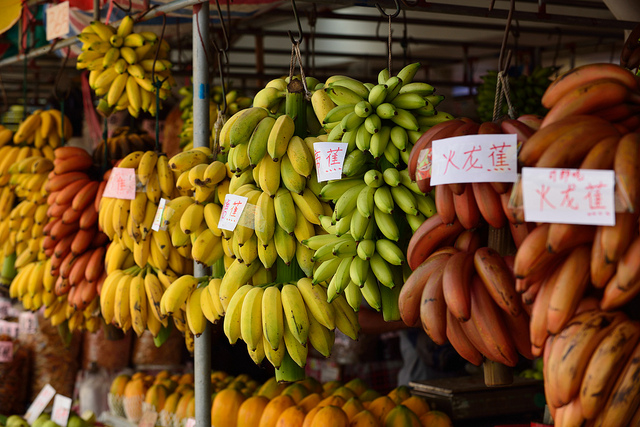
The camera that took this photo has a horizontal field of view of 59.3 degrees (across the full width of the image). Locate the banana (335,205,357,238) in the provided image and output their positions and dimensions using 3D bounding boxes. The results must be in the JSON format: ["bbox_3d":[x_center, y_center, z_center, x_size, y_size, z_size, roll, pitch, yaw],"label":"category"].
[{"bbox_3d":[0.090,0.038,2.046,0.037,0.145,0.050,24,-6,23],"label":"banana"}]

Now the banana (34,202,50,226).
[{"bbox_3d":[-1.485,-0.002,2.987,0.032,0.135,0.044,-1,-42,12],"label":"banana"}]

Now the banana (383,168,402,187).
[{"bbox_3d":[0.251,-0.133,1.974,0.040,0.050,0.066,9,20,-29],"label":"banana"}]

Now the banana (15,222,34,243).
[{"bbox_3d":[-1.630,0.098,3.087,0.022,0.108,0.037,31,8,-4],"label":"banana"}]

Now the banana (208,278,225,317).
[{"bbox_3d":[-0.457,0.331,2.434,0.051,0.117,0.210,-8,40,-5],"label":"banana"}]

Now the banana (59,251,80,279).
[{"bbox_3d":[-1.269,0.262,2.838,0.032,0.135,0.042,27,-8,44],"label":"banana"}]

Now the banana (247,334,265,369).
[{"bbox_3d":[-0.261,0.554,2.247,0.041,0.167,0.055,-1,5,4],"label":"banana"}]

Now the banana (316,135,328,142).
[{"bbox_3d":[0.009,-0.296,2.175,0.040,0.037,0.090,0,0,-1],"label":"banana"}]

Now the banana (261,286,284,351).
[{"bbox_3d":[-0.184,0.404,2.157,0.065,0.256,0.070,-10,-16,40],"label":"banana"}]

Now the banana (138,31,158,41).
[{"bbox_3d":[-0.846,-0.872,2.729,0.114,0.040,0.038,5,4,27],"label":"banana"}]

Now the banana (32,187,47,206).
[{"bbox_3d":[-1.523,-0.087,3.016,0.035,0.154,0.047,-1,1,1],"label":"banana"}]

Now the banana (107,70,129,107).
[{"bbox_3d":[-0.988,-0.610,2.748,0.061,0.228,0.061,17,-7,-26],"label":"banana"}]

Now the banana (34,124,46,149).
[{"bbox_3d":[-1.674,-0.454,3.342,0.037,0.166,0.049,1,-3,2],"label":"banana"}]

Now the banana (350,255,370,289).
[{"bbox_3d":[0.143,0.210,2.014,0.070,0.120,0.060,0,-1,-2],"label":"banana"}]

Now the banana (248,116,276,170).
[{"bbox_3d":[-0.214,-0.294,2.223,0.059,0.227,0.070,9,-29,18],"label":"banana"}]

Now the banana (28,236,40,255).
[{"bbox_3d":[-1.574,0.177,3.074,0.045,0.151,0.038,-5,29,-33],"label":"banana"}]

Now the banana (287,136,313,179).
[{"bbox_3d":[-0.078,-0.225,2.174,0.098,0.160,0.065,0,-1,37],"label":"banana"}]

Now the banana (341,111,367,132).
[{"bbox_3d":[0.115,-0.333,2.000,0.046,0.043,0.135,9,24,43],"label":"banana"}]

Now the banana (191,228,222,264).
[{"bbox_3d":[-0.484,0.137,2.368,0.035,0.146,0.087,-9,-48,45],"label":"banana"}]

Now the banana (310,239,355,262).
[{"bbox_3d":[0.052,0.149,2.091,0.184,0.069,0.054,-30,-14,31],"label":"banana"}]

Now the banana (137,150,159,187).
[{"bbox_3d":[-0.799,-0.218,2.584,0.052,0.199,0.056,-1,-32,21],"label":"banana"}]

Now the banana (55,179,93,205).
[{"bbox_3d":[-1.294,-0.116,2.869,0.243,0.084,0.082,-6,31,39],"label":"banana"}]

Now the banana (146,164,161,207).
[{"bbox_3d":[-0.771,-0.162,2.632,0.069,0.232,0.064,-26,-46,14],"label":"banana"}]

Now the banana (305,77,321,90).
[{"bbox_3d":[-0.020,-0.538,2.329,0.044,0.034,0.057,-25,6,-2],"label":"banana"}]

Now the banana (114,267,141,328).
[{"bbox_3d":[-0.918,0.381,2.637,0.117,0.374,0.099,15,25,12],"label":"banana"}]

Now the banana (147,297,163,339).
[{"bbox_3d":[-0.790,0.497,2.673,0.044,0.197,0.066,-4,18,8],"label":"banana"}]

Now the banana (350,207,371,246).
[{"bbox_3d":[0.143,0.044,1.979,0.047,0.149,0.042,17,-17,-40],"label":"banana"}]

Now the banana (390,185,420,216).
[{"bbox_3d":[0.296,-0.052,1.969,0.051,0.055,0.162,-2,29,-19],"label":"banana"}]

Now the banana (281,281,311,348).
[{"bbox_3d":[-0.102,0.388,2.200,0.088,0.093,0.323,-4,40,-16],"label":"banana"}]

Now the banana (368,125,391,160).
[{"bbox_3d":[0.212,-0.257,2.005,0.058,0.125,0.040,23,-23,-21],"label":"banana"}]

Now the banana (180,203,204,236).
[{"bbox_3d":[-0.538,0.019,2.405,0.066,0.150,0.060,20,-35,11],"label":"banana"}]

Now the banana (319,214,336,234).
[{"bbox_3d":[0.025,0.039,2.102,0.032,0.033,0.096,-5,33,-25],"label":"banana"}]

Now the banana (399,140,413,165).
[{"bbox_3d":[0.308,-0.215,1.991,0.023,0.096,0.031,13,7,-31],"label":"banana"}]

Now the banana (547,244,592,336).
[{"bbox_3d":[0.720,0.220,1.643,0.080,0.340,0.102,20,-20,-13],"label":"banana"}]

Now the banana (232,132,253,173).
[{"bbox_3d":[-0.310,-0.231,2.236,0.056,0.177,0.046,13,5,-22],"label":"banana"}]

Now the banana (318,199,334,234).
[{"bbox_3d":[0.020,0.008,2.210,0.041,0.135,0.034,0,-23,-25],"label":"banana"}]

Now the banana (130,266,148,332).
[{"bbox_3d":[-0.842,0.394,2.593,0.092,0.297,0.061,5,-6,-39],"label":"banana"}]

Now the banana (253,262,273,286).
[{"bbox_3d":[-0.245,0.264,2.341,0.035,0.149,0.053,-11,-24,29],"label":"banana"}]

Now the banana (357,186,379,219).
[{"bbox_3d":[0.173,-0.048,1.982,0.052,0.158,0.042,33,-49,-10],"label":"banana"}]

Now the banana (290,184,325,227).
[{"bbox_3d":[-0.051,-0.035,2.184,0.039,0.152,0.054,-32,7,48],"label":"banana"}]

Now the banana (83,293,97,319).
[{"bbox_3d":[-1.192,0.472,2.892,0.031,0.153,0.048,18,12,-15],"label":"banana"}]

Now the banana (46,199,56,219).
[{"bbox_3d":[-1.378,-0.027,2.864,0.029,0.096,0.023,23,-2,-34],"label":"banana"}]

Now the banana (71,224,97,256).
[{"bbox_3d":[-1.187,0.127,2.872,0.056,0.224,0.069,26,-32,-5],"label":"banana"}]

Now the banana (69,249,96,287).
[{"bbox_3d":[-1.198,0.266,2.876,0.050,0.203,0.062,29,27,26],"label":"banana"}]

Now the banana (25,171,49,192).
[{"bbox_3d":[-1.519,-0.172,3.048,0.044,0.056,0.170,-32,9,48],"label":"banana"}]

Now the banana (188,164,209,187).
[{"bbox_3d":[-0.507,-0.157,2.328,0.050,0.062,0.096,15,14,7],"label":"banana"}]

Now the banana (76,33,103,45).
[{"bbox_3d":[-1.108,-0.831,2.655,0.125,0.060,0.052,0,-1,7],"label":"banana"}]
